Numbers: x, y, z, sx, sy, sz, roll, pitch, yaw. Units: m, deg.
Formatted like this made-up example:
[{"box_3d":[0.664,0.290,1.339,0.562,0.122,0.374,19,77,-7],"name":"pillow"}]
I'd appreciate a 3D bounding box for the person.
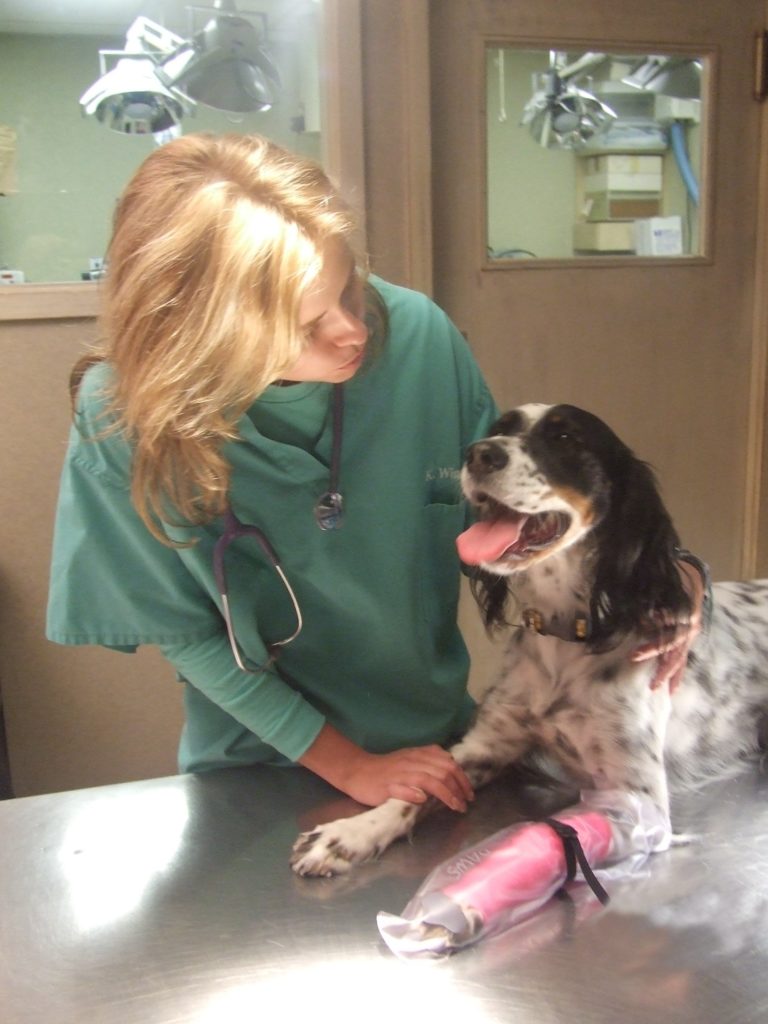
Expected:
[{"box_3d":[-0.073,-0.018,1.346,0.822,0.925,0.575,-5,32,-1],"name":"person"}]
